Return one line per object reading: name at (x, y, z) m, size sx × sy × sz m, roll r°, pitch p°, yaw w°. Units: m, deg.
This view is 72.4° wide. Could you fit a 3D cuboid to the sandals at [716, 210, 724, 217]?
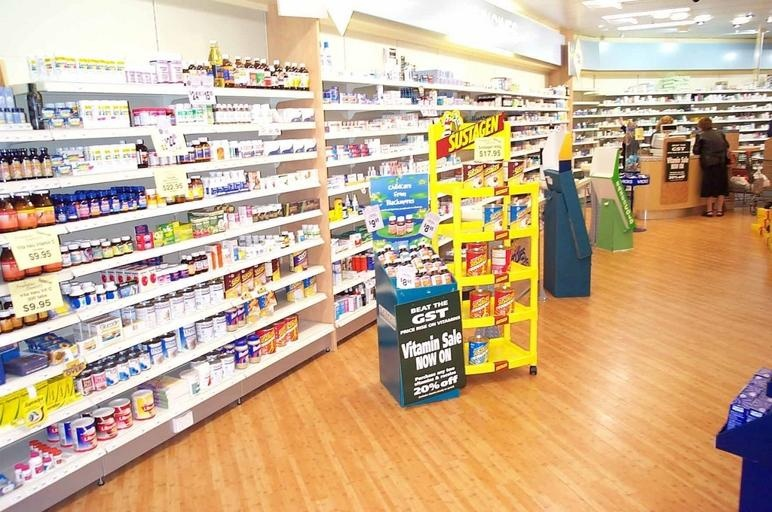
sandals at (7.700, -0.984, 12.103) m, size 0.120 × 0.088 × 0.332 m, roll 1°, pitch 12°, yaw 26°
